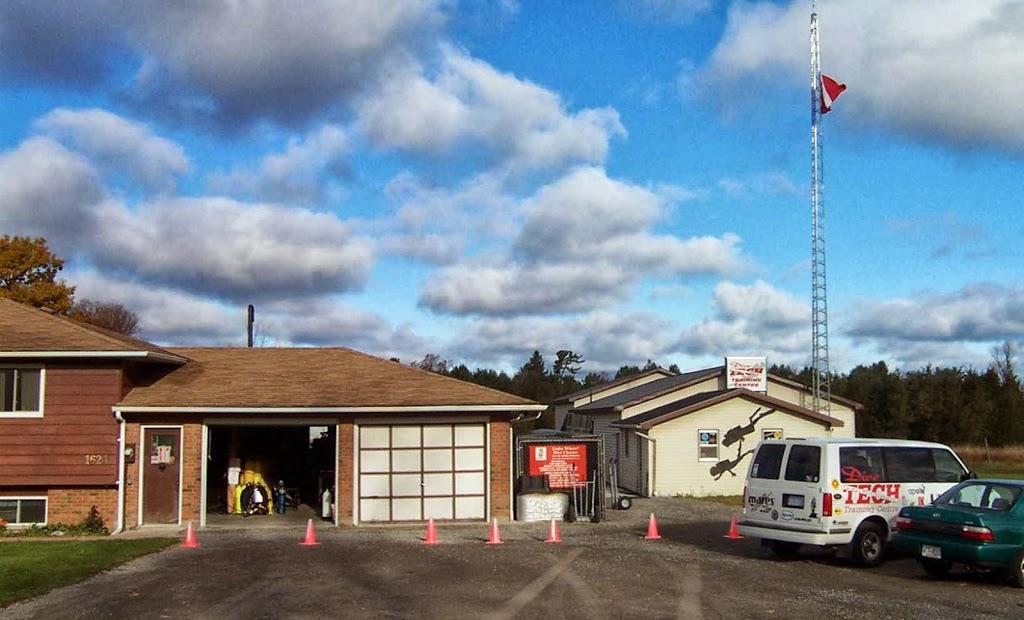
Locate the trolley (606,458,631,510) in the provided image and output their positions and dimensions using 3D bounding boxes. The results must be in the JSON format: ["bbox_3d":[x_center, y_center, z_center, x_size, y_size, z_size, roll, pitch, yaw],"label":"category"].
[{"bbox_3d":[4.271,7.113,40.497,0.699,1.975,1.221,-3,-7,-14],"label":"trolley"}]

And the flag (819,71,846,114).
[{"bbox_3d":[17.145,-11.821,53.550,0.898,1.783,2.487,0,2,8],"label":"flag"}]

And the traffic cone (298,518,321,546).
[{"bbox_3d":[-6.540,7.154,32.621,0.845,0.960,0.879,1,-2,-14],"label":"traffic cone"}]
